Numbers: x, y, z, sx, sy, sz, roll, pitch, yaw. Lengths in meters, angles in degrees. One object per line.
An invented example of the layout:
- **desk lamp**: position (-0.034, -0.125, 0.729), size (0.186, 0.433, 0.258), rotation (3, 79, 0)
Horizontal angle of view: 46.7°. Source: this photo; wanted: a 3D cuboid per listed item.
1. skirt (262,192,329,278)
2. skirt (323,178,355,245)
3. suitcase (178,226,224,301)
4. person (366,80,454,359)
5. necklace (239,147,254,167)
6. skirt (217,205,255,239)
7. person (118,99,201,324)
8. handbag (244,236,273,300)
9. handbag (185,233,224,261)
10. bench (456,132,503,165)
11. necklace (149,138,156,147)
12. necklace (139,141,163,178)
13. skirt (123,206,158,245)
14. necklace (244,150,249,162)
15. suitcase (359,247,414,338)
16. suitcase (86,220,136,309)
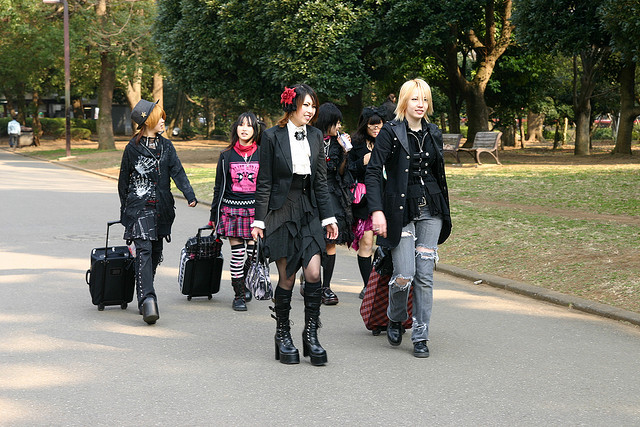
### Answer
- **skirt**: position (-0.291, 0.250, 8.238), size (0.708, 0.910, 0.353), rotation (-2, 15, -5)
- **skirt**: position (0.305, -0.018, 10.377), size (0.343, 0.899, 0.240), rotation (0, 15, 2)
- **suitcase**: position (-1.693, 0.682, 10.482), size (0.650, 0.971, 0.400), rotation (0, 18, -26)
- **person**: position (1.018, 0.043, 8.647), size (0.933, 3.142, 0.949), rotation (5, 16, 18)
- **necklace**: position (-1.013, -0.759, 10.084), size (0.211, 0.208, 0.207), rotation (-10, 34, 7)
- **skirt**: position (-1.251, 0.072, 10.162), size (0.633, 0.471, 0.377), rotation (5, 2, -36)
- **person**: position (-2.174, -0.023, 9.539), size (0.811, 2.806, 1.080), rotation (4, 15, 15)
- **handbag**: position (-0.694, 0.616, 8.213), size (0.230, 0.699, 0.327), rotation (-7, 16, -22)
- **handbag**: position (-1.613, 0.483, 10.383), size (0.590, 0.471, 0.229), rotation (2, 36, -24)
- **bench**: position (5.617, -2.352, 26.447), size (1.176, 1.008, 1.659), rotation (-8, 9, -15)
- **necklace**: position (-2.160, -0.913, 9.513), size (0.129, 0.102, 0.030), rotation (-1, -4, -23)
- **necklace**: position (-2.160, -0.744, 9.521), size (0.287, 0.349, 0.116), rotation (-3, 15, -12)
- **skirt**: position (-2.252, 0.172, 9.600), size (0.620, 0.555, 0.430), rotation (4, -9, -15)
- **necklace**: position (-1.009, -0.781, 10.088), size (0.069, 0.143, 0.063), rotation (3, 8, -6)
- **suitcase**: position (0.867, 1.045, 9.263), size (0.554, 0.915, 0.681), rotation (20, -3, -37)
- **suitcase**: position (-2.809, 0.687, 9.898), size (0.721, 1.096, 0.478), rotation (3, 6, -33)
